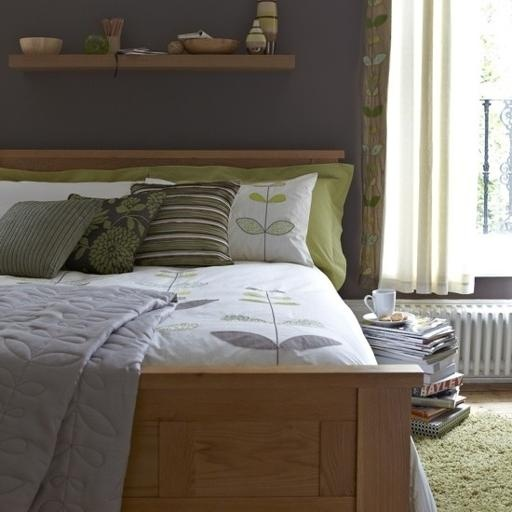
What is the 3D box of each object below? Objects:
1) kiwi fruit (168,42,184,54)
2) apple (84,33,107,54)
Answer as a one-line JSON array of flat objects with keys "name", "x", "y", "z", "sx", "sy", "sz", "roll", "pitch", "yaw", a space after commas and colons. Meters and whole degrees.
[{"name": "kiwi fruit", "x": -0.389, "y": -0.997, "z": 2.545, "sx": 0.081, "sy": 0.062, "sz": 0.043, "roll": -2, "pitch": 5, "yaw": 1}, {"name": "apple", "x": -0.784, "y": -1.022, "z": 2.565, "sx": 0.111, "sy": 0.090, "sz": 0.055, "roll": 0, "pitch": 0, "yaw": -6}]
